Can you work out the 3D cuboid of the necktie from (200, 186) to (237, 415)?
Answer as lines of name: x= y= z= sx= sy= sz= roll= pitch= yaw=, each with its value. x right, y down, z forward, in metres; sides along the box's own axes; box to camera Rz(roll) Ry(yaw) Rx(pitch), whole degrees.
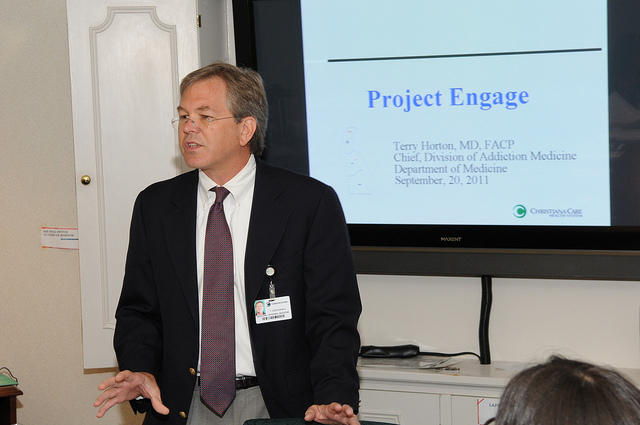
necktie: x=-0.426 y=0.358 z=2.603 sx=0.137 sy=0.940 sz=0.116 roll=0 pitch=-3 yaw=-6

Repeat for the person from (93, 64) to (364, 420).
person: x=-0.356 y=0.105 z=2.612 sx=1.040 sy=1.512 sz=0.361 roll=-1 pitch=-3 yaw=1
